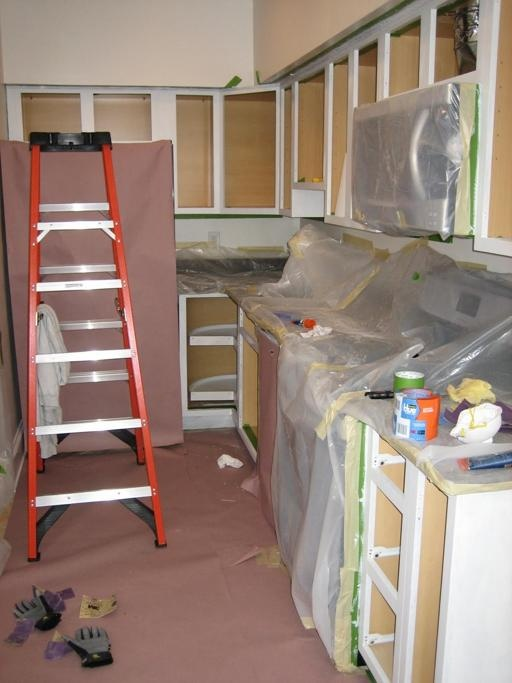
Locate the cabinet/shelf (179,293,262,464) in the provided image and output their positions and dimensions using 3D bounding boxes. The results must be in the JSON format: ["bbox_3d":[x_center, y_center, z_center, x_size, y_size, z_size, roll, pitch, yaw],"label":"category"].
[{"bbox_3d":[-0.221,0.156,3.109,0.408,0.852,0.551,-3,11,-12],"label":"cabinet/shelf"}]

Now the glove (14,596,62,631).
[{"bbox_3d":[-0.695,0.860,1.744,0.164,0.043,0.098,8,14,37],"label":"glove"}]

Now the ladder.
[{"bbox_3d":[-0.679,0.020,2.152,0.527,1.574,0.506,-4,11,-15],"label":"ladder"}]

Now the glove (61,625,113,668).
[{"bbox_3d":[-0.487,0.879,1.588,0.109,0.040,0.166,-7,12,-30],"label":"glove"}]
